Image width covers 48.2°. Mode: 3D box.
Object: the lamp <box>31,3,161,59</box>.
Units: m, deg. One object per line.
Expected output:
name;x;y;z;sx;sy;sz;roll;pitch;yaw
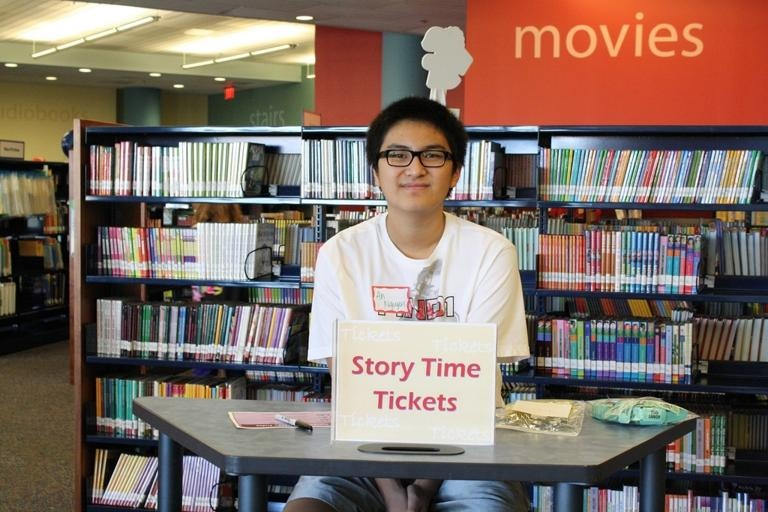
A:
lamp;-4.431;-3.453;13.351;3.800;0.503;0.758;9;13;44

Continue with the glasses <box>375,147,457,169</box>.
glasses;0.169;-0.512;4.450;0.369;0.103;0.049;1;9;3

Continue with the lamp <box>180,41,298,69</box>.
lamp;-2.652;-3.640;15.321;3.019;0.250;0.331;-1;34;32
